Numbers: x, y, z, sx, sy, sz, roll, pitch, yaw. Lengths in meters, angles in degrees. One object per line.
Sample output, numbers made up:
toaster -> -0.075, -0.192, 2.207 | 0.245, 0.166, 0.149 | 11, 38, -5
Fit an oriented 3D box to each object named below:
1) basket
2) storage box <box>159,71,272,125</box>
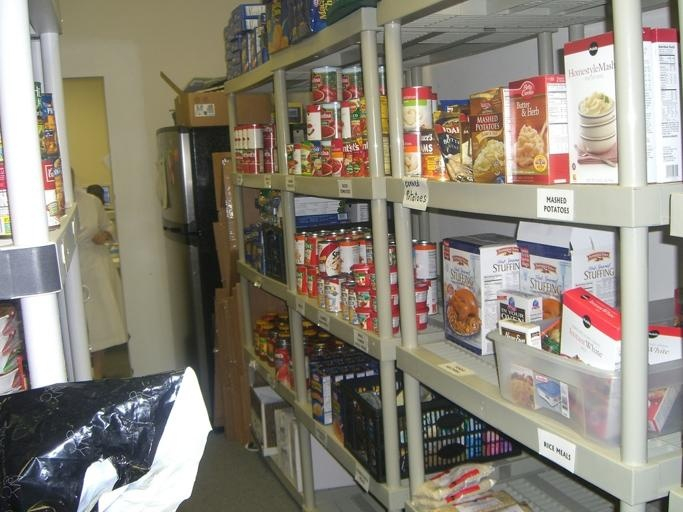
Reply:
basket -> 0.236, 0.653, 2.231 | 0.548, 0.168, 0.538 | -9, -1, -38
storage box -> -0.885, -1.056, 3.905 | 0.841, 0.389, 0.459 | -4, 17, -9
